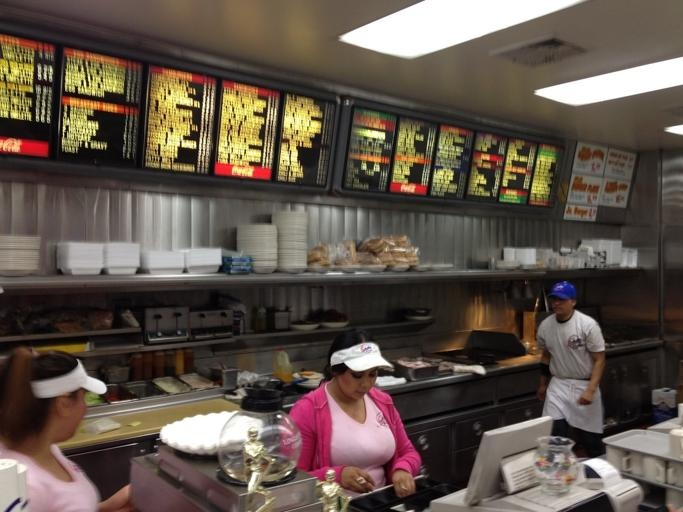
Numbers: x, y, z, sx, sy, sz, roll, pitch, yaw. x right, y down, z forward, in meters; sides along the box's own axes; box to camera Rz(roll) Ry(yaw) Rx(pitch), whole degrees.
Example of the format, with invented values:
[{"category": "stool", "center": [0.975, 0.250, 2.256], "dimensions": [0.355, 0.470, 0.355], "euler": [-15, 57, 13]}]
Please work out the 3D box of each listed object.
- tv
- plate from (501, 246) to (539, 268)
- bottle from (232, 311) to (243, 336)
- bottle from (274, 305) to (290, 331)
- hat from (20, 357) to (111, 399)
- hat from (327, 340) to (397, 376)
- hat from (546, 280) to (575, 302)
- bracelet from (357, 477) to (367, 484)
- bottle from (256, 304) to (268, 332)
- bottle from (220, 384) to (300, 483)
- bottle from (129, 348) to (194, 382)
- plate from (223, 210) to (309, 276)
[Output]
[{"category": "tv", "center": [0.645, 0.759, 1.765], "dimensions": [0.434, 0.287, 0.078], "euler": [-2, 4, -32]}, {"category": "plate", "center": [2.093, 0.006, 5.481], "dimensions": [0.589, 0.230, 0.243], "euler": [-1, 4, -20]}, {"category": "bottle", "center": [-0.858, 0.543, 3.847], "dimensions": [0.090, 0.213, 0.057], "euler": [-2, 4, -23]}, {"category": "bottle", "center": [-0.532, 0.555, 4.169], "dimensions": [0.129, 0.196, 0.194], "euler": [0, 3, 1]}, {"category": "hat", "center": [-1.053, 0.473, 1.799], "dimensions": [0.189, 0.078, 0.111], "euler": [-1, 3, -34]}, {"category": "hat", "center": [0.087, 0.527, 2.434], "dimensions": [0.298, 0.148, 0.192], "euler": [0, 3, -3]}, {"category": "hat", "center": [2.095, 0.325, 4.386], "dimensions": [0.307, 0.158, 0.204], "euler": [10, -5, -37]}, {"category": "bracelet", "center": [0.089, 1.051, 2.176], "dimensions": [0.023, 0.032, 0.010], "euler": [-16, 33, 32]}, {"category": "bottle", "center": [-0.703, 0.540, 4.059], "dimensions": [0.079, 0.204, 0.129], "euler": [0, 3, 4]}, {"category": "bottle", "center": [-0.212, 0.544, 1.487], "dimensions": [0.275, 0.245, 0.256], "euler": [2, -5, 0]}, {"category": "bottle", "center": [-1.388, 0.822, 3.591], "dimensions": [0.452, 0.215, 0.058], "euler": [-2, 4, -26]}, {"category": "plate", "center": [-0.579, -0.128, 3.888], "dimensions": [0.573, 0.520, 0.275], "euler": [-1, 3, -13]}]
